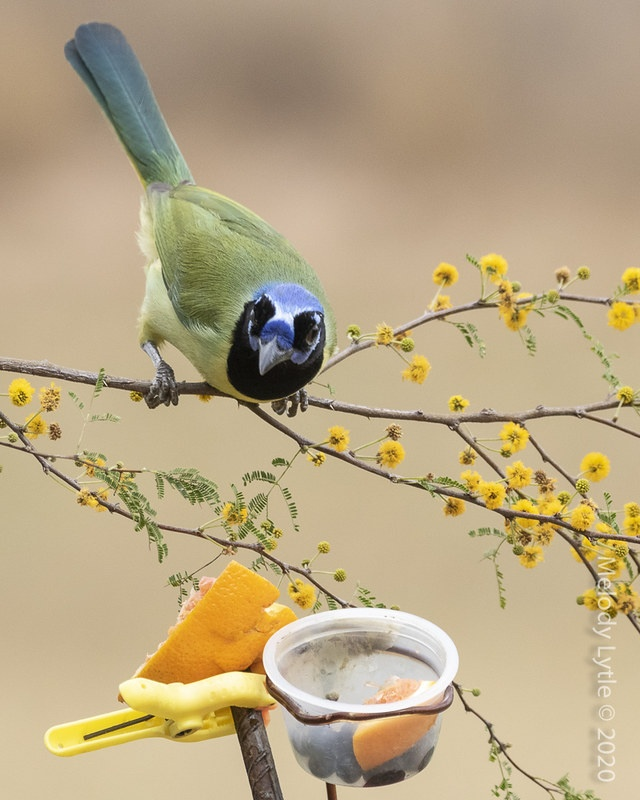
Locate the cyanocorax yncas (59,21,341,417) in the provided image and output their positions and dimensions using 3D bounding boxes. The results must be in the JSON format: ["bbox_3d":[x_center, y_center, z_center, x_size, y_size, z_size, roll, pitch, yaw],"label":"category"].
[{"bbox_3d":[-0.340,-0.621,3.466,0.453,1.306,0.825,3,-9,-42],"label":"cyanocorax yncas"}]

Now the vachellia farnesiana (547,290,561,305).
[{"bbox_3d":[0.642,-0.281,3.089,0.044,0.037,0.026,3,-9,-40],"label":"vachellia farnesiana"}]

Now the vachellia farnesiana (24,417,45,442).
[{"bbox_3d":[-0.814,0.077,3.228,0.062,0.070,0.149,-1,-6,-14],"label":"vachellia farnesiana"}]

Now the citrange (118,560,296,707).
[{"bbox_3d":[-0.287,0.607,3.080,0.446,0.317,0.145,-2,-7,-6],"label":"citrange"}]

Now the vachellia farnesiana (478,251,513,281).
[{"bbox_3d":[0.473,-0.370,3.064,0.073,0.074,0.130,-3,-6,-1],"label":"vachellia farnesiana"}]

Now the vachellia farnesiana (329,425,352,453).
[{"bbox_3d":[0.061,0.115,3.267,0.046,0.071,0.089,1,-7,-30],"label":"vachellia farnesiana"}]

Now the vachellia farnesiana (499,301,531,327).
[{"bbox_3d":[0.534,-0.226,3.071,0.077,0.096,0.145,-4,-6,5],"label":"vachellia farnesiana"}]

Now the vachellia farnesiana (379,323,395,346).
[{"bbox_3d":[0.189,-0.188,3.284,0.049,0.060,0.119,-4,-6,8],"label":"vachellia farnesiana"}]

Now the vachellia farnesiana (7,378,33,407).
[{"bbox_3d":[-0.744,-0.015,2.788,0.105,0.080,0.041,3,-7,-10],"label":"vachellia farnesiana"}]

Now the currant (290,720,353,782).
[{"bbox_3d":[0.002,0.882,2.807,0.146,0.168,0.186,-1,-7,-14],"label":"currant"}]

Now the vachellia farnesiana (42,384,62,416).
[{"bbox_3d":[-0.675,-0.004,2.814,0.072,0.077,0.047,-1,1,-5],"label":"vachellia farnesiana"}]
